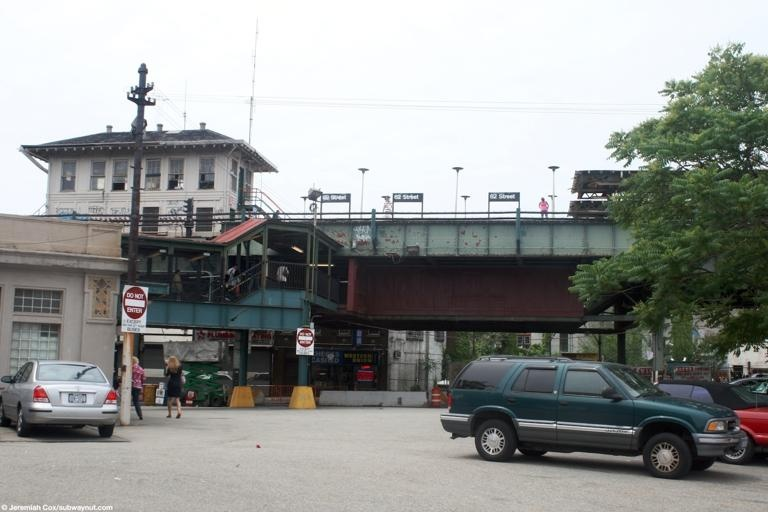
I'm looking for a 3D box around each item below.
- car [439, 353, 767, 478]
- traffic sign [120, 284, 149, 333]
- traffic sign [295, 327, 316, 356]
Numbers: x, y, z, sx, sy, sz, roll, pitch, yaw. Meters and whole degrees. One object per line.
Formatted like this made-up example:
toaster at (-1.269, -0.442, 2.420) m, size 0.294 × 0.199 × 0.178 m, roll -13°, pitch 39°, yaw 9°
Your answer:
car at (5.648, 4.388, 27.087) m, size 6.891 × 2.469 × 3.313 m, roll -5°, pitch -10°, yaw 26°
traffic sign at (-8.119, 1.751, 32.488) m, size 0.541 × 1.555 × 1.057 m, roll -3°, pitch -7°, yaw 25°
traffic sign at (-3.720, 4.066, 47.276) m, size 0.804 × 1.244 × 1.548 m, roll 1°, pitch -6°, yaw -8°
